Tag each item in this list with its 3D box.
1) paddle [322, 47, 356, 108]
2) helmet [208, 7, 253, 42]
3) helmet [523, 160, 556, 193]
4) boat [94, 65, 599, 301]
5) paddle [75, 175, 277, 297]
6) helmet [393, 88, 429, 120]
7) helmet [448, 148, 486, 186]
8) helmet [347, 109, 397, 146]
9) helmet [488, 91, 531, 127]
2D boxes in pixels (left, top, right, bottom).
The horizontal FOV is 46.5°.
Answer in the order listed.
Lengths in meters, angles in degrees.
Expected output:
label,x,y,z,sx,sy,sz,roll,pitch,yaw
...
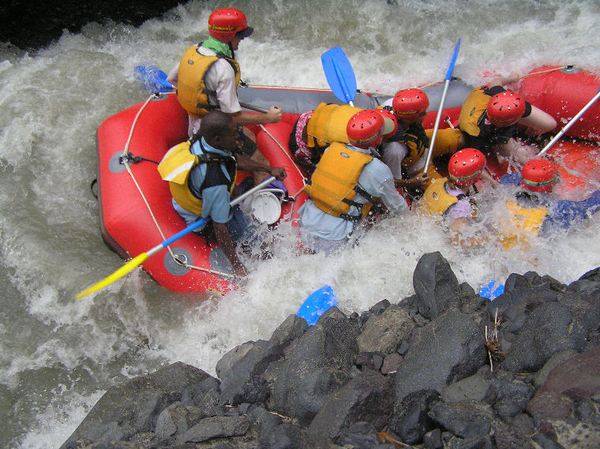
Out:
label,x,y,z,sx,sy,sz,roll,pitch,yaw
paddle,0.533,-1.940,9.246,0.384,0.123,0.879,-23,76,-2
helmet,-0.871,-2.462,8.577,0.568,0.293,0.338,-4,53,-9
helmet,2.866,-0.554,8.382,0.397,0.394,0.367,-6,70,19
boat,0.419,-0.560,9.260,5.883,1.012,2.815,-12,60,-14
paddle,-1.385,0.170,8.199,2.605,0.127,0.127,-33,91,-20
helmet,1.319,-1.448,8.287,0.331,0.417,0.343,-8,21,-7
helmet,1.940,-0.636,8.227,0.448,0.335,0.358,-41,69,-1
helmet,0.832,-1.131,7.961,0.532,0.263,0.355,-39,54,-21
helmet,2.510,-1.381,8.360,0.506,0.266,0.410,-20,40,-10
